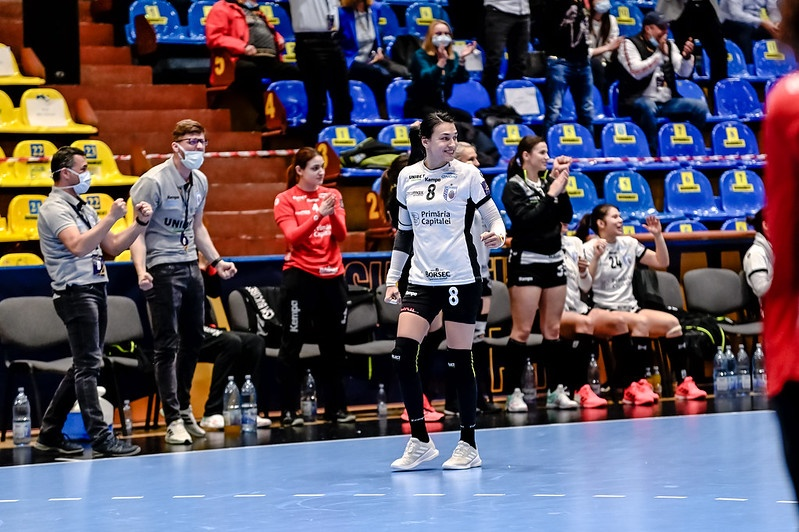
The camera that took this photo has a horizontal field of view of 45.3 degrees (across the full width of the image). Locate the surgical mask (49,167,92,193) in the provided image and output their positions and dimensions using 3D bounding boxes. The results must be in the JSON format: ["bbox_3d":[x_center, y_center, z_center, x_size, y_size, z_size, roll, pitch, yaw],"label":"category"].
[{"bbox_3d":[-3.002,-0.770,8.866,0.210,0.152,0.176,-4,0,-9],"label":"surgical mask"}]

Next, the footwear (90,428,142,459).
[{"bbox_3d":[-2.634,1.644,8.849,0.522,0.244,0.204,1,0,-5],"label":"footwear"}]

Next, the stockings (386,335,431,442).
[{"bbox_3d":[0.082,0.992,8.007,0.305,0.863,0.360,0,20,-5],"label":"stockings"}]

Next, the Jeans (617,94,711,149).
[{"bbox_3d":[4.161,-2.386,15.548,0.934,1.216,1.097,-3,2,-19],"label":"Jeans"}]

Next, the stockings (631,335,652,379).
[{"bbox_3d":[2.772,1.045,10.960,0.263,0.467,0.241,-1,20,-6],"label":"stockings"}]

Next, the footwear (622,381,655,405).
[{"bbox_3d":[2.678,1.425,10.796,0.222,0.121,0.306,-14,4,-33],"label":"footwear"}]

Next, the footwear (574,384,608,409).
[{"bbox_3d":[2.138,1.459,10.793,0.182,0.154,0.352,-1,3,-34],"label":"footwear"}]

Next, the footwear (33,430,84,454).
[{"bbox_3d":[-3.229,1.649,9.084,0.527,0.233,0.188,6,-8,-3],"label":"footwear"}]

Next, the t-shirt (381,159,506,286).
[{"bbox_3d":[0.392,-0.343,8.079,1.200,1.117,0.407,1,3,33],"label":"t-shirt"}]

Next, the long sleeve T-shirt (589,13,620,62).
[{"bbox_3d":[3.227,-3.593,15.323,0.600,0.850,0.206,3,3,-2],"label":"long sleeve T-shirt"}]

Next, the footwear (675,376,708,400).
[{"bbox_3d":[3.325,1.398,11.058,0.202,0.204,0.359,2,-2,-32],"label":"footwear"}]

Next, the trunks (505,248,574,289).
[{"bbox_3d":[1.476,0.047,10.384,0.668,0.432,0.451,4,0,-28],"label":"trunks"}]

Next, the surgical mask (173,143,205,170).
[{"bbox_3d":[-2.027,-1.029,9.176,0.218,0.134,0.190,17,10,34],"label":"surgical mask"}]

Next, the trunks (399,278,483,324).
[{"bbox_3d":[0.329,0.243,8.078,0.721,0.490,0.409,-1,14,5],"label":"trunks"}]

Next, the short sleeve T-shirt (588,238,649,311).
[{"bbox_3d":[2.529,0.102,11.301,0.942,0.890,0.505,-8,17,-4],"label":"short sleeve T-shirt"}]

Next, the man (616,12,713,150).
[{"bbox_3d":[4.187,-2.842,15.228,1.328,2.253,1.199,-3,14,-2],"label":"man"}]

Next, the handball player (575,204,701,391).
[{"bbox_3d":[2.684,0.411,11.039,1.010,2.239,1.285,-2,-3,-36],"label":"handball player"}]

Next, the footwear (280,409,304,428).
[{"bbox_3d":[-1.142,1.606,10.121,0.111,0.132,0.313,7,-16,-27],"label":"footwear"}]

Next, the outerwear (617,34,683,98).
[{"bbox_3d":[4.028,-3.039,15.113,1.135,1.217,1.058,-3,13,-6],"label":"outerwear"}]

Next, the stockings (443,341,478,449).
[{"bbox_3d":[0.492,1.048,8.045,0.291,1.131,0.234,-5,4,3],"label":"stockings"}]

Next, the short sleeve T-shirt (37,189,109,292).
[{"bbox_3d":[-3.020,-0.244,8.782,0.530,0.868,0.528,-6,21,-20],"label":"short sleeve T-shirt"}]

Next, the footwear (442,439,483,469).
[{"bbox_3d":[0.535,1.578,8.010,0.156,0.196,0.367,-8,-10,41],"label":"footwear"}]
